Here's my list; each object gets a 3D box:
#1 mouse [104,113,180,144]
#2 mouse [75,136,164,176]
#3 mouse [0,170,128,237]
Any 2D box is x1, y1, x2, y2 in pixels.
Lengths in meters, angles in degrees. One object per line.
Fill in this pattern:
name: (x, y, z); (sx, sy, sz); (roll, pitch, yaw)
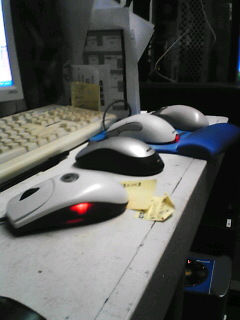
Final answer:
mouse: (0.049, -0.084, 0.643); (0.196, 0.067, 0.114); (6, 22, 27)
mouse: (-0.004, -0.020, 0.462); (0.135, 0.045, 0.072); (8, 15, 12)
mouse: (-0.067, 0.044, 0.322); (0.131, 0.045, 0.073); (-5, 15, -12)
